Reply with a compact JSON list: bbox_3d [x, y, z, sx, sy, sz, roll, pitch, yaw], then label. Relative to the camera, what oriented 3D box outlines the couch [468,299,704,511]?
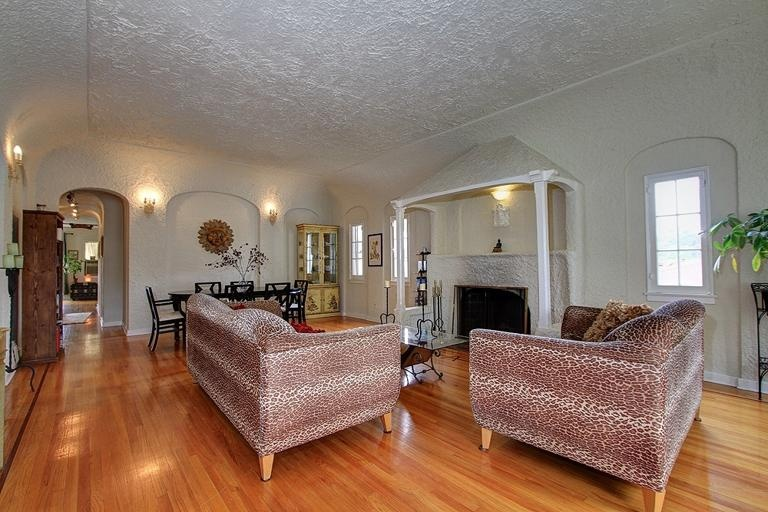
[{"bbox_3d":[1.982,1.231,4.631,1.653,1.431,2.330,-1,-5,37],"label":"couch"}]

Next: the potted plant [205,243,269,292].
[{"bbox_3d":[-2.977,0.229,9.837,1.065,0.637,0.923,0,3,-31],"label":"potted plant"}]

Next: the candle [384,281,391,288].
[{"bbox_3d":[0.072,0.488,8.425,0.115,0.123,0.112,0,3,3],"label":"candle"}]

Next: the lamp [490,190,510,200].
[{"bbox_3d":[1.941,-1.000,7.849,0.175,0.102,0.173,-1,-1,27],"label":"lamp"}]

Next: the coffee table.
[{"bbox_3d":[0.602,1.265,6.155,0.752,0.614,1.052,-2,-1,3],"label":"coffee table"}]

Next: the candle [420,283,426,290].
[{"bbox_3d":[0.700,0.538,8.475,0.141,0.091,0.058,-3,0,41],"label":"candle"}]

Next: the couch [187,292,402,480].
[{"bbox_3d":[-0.856,0.677,4.916,1.430,1.205,2.596,-2,2,-33],"label":"couch"}]
